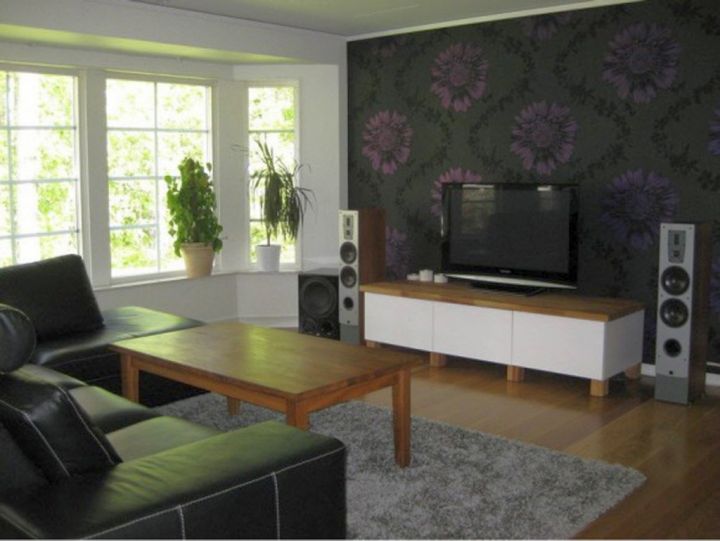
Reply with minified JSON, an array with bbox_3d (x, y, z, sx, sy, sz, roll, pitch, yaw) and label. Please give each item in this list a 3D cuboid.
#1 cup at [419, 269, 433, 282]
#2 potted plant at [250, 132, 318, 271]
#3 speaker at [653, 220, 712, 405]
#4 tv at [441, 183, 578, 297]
[{"bbox_3d":[0.653,0.048,5.352,0.104,0.095,0.123,4,5,29],"label":"cup"},{"bbox_3d":[-0.891,-0.749,6.008,0.755,1.547,0.477,2,9,7],"label":"potted plant"},{"bbox_3d":[2.389,0.301,4.023,0.322,1.308,0.420,9,12,41],"label":"speaker"},{"bbox_3d":[1.313,-0.322,4.847,1.282,0.960,0.125,7,13,40],"label":"tv"}]
